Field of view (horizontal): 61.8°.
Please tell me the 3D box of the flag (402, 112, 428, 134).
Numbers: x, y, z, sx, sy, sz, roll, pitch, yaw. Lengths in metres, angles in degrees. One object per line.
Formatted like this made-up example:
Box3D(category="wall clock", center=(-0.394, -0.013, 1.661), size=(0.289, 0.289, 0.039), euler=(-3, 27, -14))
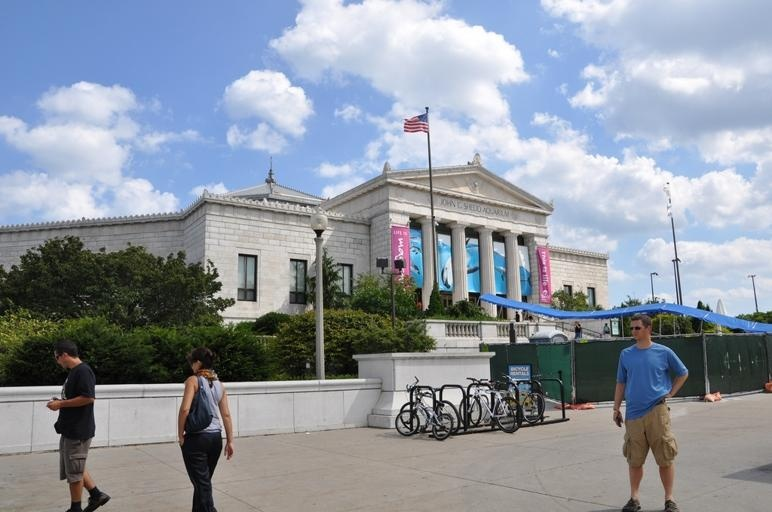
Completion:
Box3D(category="flag", center=(2.094, -9.323, 45.413), size=(1.395, 2.045, 2.325), euler=(-1, -10, 9))
